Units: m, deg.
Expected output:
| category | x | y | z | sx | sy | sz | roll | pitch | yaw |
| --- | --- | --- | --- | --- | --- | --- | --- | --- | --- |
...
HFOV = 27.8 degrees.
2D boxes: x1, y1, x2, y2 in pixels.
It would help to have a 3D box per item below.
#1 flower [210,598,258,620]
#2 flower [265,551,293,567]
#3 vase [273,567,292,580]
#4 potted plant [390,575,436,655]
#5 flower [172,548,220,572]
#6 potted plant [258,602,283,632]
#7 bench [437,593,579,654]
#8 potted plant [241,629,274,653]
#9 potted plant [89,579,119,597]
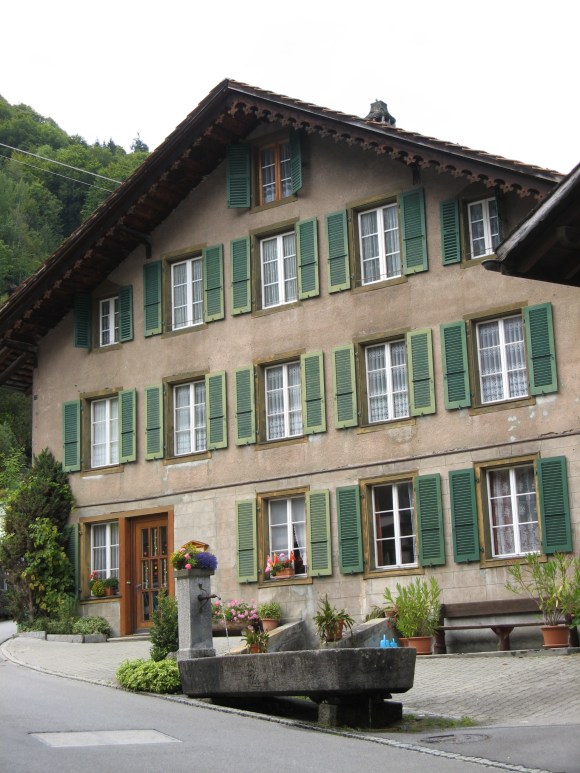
| category | x | y | z | sx | sy | sz | roll | pitch | yaw |
| --- | --- | --- | --- | --- | --- | --- | --- | --- | --- |
| flower | -0.968 | 3.702 | 19.296 | 0.493 | 0.228 | 0.427 | -3 | -6 | 43 |
| flower | -0.181 | 3.013 | 20.133 | 0.335 | 0.170 | 0.295 | -1 | -5 | 2 |
| vase | -0.136 | 3.186 | 20.014 | 0.256 | 0.168 | 0.247 | 0 | -7 | 1 |
| potted plant | 1.881 | 3.461 | 17.660 | 0.750 | 1.138 | 1.312 | -5 | -11 | 6 |
| flower | -1.225 | 2.170 | 14.708 | 0.419 | 0.253 | 0.317 | 3 | -13 | 16 |
| potted plant | -0.369 | 3.845 | 19.615 | 0.338 | 0.459 | 0.592 | -7 | -12 | 17 |
| bench | 3.213 | 3.462 | 17.006 | 1.161 | 0.442 | 0.333 | -19 | -7 | 27 |
| potted plant | -0.429 | 3.322 | 15.327 | 0.476 | 0.321 | 0.477 | -10 | -19 | 42 |
| potted plant | -3.522 | 3.830 | 22.113 | 0.445 | 0.294 | 0.345 | -2 | -18 | 2 |
